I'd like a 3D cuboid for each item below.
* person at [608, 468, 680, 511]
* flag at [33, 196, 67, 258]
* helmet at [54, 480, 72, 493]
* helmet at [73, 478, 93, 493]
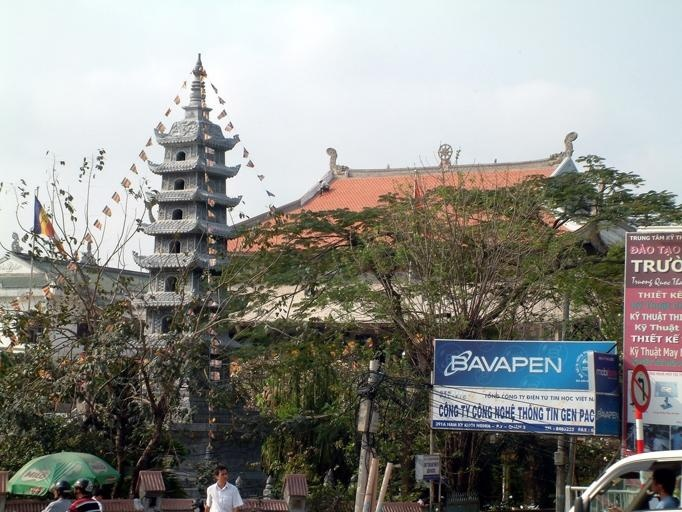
[{"bbox_3d":[5.883,4.556,28.858,0.965,1.265,0.658,13,2,-33],"label":"person"},{"bbox_3d":[-8.538,-1.094,43.299,0.837,0.272,3.345,-10,-30,-12],"label":"flag"},{"bbox_3d":[-5.843,4.848,31.282,0.302,0.278,0.237,7,5,40],"label":"helmet"},{"bbox_3d":[-5.317,4.728,30.892,0.309,0.271,0.253,10,2,22],"label":"helmet"}]
